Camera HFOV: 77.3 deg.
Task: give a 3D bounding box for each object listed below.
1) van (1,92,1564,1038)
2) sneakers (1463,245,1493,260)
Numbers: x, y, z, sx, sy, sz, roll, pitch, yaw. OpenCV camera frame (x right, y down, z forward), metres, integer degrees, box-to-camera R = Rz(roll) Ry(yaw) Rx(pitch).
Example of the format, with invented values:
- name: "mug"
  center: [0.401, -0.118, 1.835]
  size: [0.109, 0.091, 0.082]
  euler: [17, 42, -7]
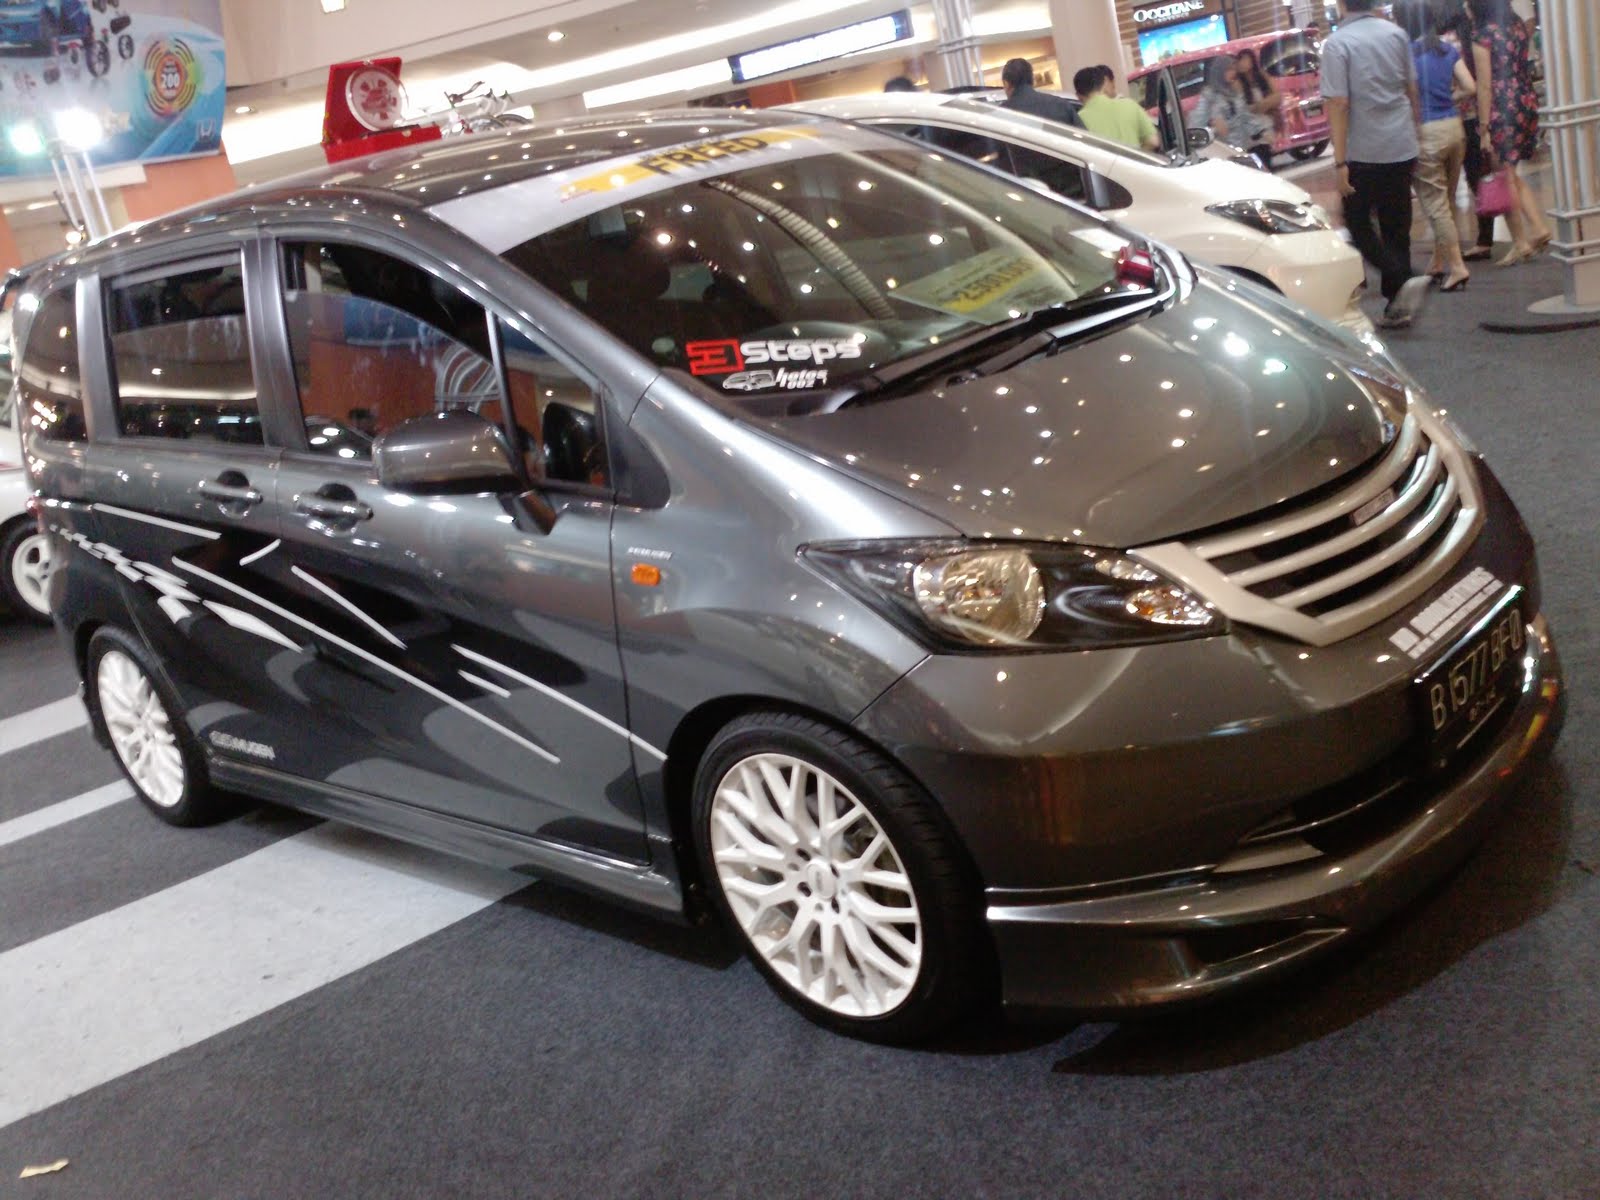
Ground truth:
- name: "van"
  center: [-0.369, -0.304, 3.126]
  size: [4.493, 1.600, 2.314]
  euler: [11, 27, 32]
- name: "sneakers"
  center: [6.288, -3.252, 9.371]
  size: [0.325, 0.104, 0.115]
  euler: [-1, 14, -6]
